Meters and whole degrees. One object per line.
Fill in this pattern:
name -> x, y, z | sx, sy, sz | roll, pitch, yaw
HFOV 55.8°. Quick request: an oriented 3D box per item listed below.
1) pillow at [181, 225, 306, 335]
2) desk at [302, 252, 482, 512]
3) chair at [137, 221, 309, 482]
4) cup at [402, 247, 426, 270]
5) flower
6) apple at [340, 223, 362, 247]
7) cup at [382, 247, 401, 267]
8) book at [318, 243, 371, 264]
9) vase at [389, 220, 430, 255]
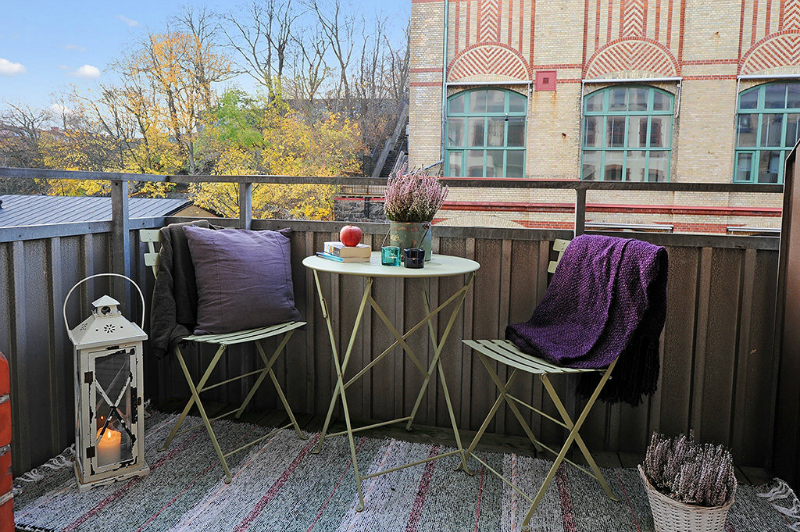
pillow -> -1.099, 0.104, 5.534 | 0.812, 0.809, 0.314 | -2, -10, -34
desk -> -0.059, 0.734, 5.530 | 1.079, 1.282, 1.009 | 8, -1, -44
chair -> -1.171, 0.500, 5.399 | 1.040, 1.555, 0.890 | -4, 6, -37
cup -> 0.101, -0.052, 5.113 | 0.125, 0.116, 0.123 | 2, 7, 0
flower -> 0.082, -0.531, 5.340 | 0.410, 0.569, 0.388 | -1, 5, -11
apple -> -0.326, -0.209, 5.209 | 0.129, 0.142, 0.137 | 1, 7, 24
cup -> -0.050, -0.070, 5.124 | 0.098, 0.117, 0.131 | 1, -1, -5
book -> -0.396, -0.096, 5.269 | 0.391, 0.131, 0.154 | 5, 11, 29
vase -> 0.047, -0.196, 5.321 | 0.274, 0.205, 0.273 | -2, 2, -24
